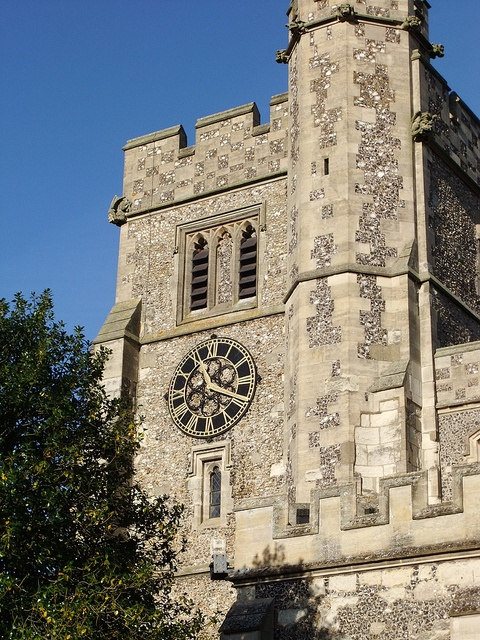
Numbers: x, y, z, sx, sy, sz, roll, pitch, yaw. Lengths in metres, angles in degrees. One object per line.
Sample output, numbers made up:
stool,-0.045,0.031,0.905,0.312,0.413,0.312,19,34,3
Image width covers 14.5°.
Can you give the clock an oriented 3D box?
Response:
clock,-0.472,1.090,31.398,0.452,1.961,1.824,20,-31,-39
